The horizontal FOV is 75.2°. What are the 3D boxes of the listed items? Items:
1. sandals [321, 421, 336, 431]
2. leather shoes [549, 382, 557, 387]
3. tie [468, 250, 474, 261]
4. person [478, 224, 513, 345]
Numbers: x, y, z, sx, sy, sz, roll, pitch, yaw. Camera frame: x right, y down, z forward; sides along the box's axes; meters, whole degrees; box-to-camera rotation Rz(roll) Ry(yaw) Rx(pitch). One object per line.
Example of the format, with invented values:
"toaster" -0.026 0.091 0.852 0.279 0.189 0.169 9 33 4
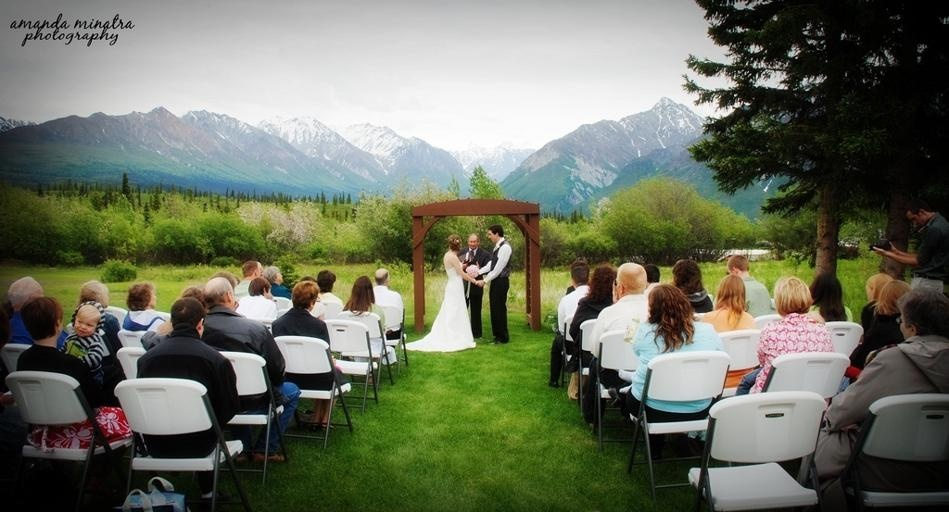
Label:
"sandals" -3.022 3.593 13.049 0.473 0.174 0.152 -2 1 3
"leather shoes" 1.864 3.021 14.596 0.111 0.107 0.115 -2 4 -40
"tie" -0.089 0.004 18.276 0.229 0.284 0.109 10 -5 26
"person" 0.636 0.746 17.988 0.799 3.377 1.586 -1 1 5
